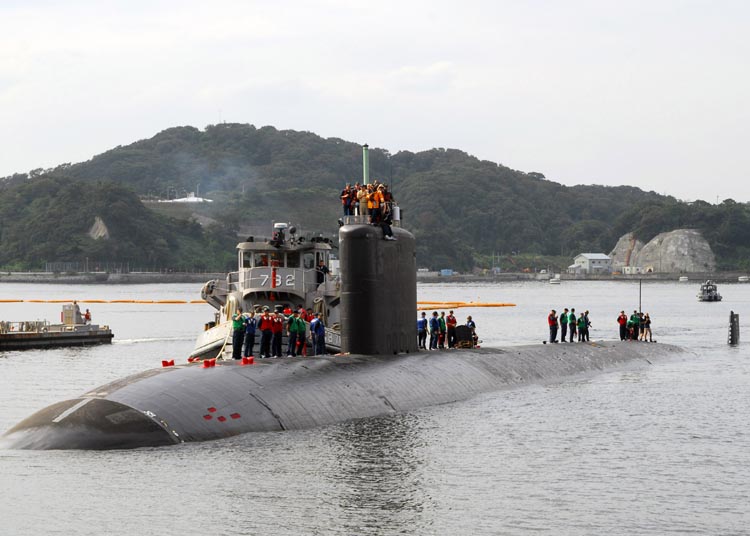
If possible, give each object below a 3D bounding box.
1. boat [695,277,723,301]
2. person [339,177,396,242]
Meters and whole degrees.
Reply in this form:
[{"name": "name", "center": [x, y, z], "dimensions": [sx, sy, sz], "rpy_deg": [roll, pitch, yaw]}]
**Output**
[{"name": "boat", "center": [37.809, 2.435, 125.745], "dimensions": [2.924, 2.687, 7.156], "rpy_deg": [2, 5, 10]}, {"name": "person", "center": [-0.186, -1.656, 31.745], "dimensions": [1.602, 1.636, 0.883], "rpy_deg": [5, 15, 2]}]
